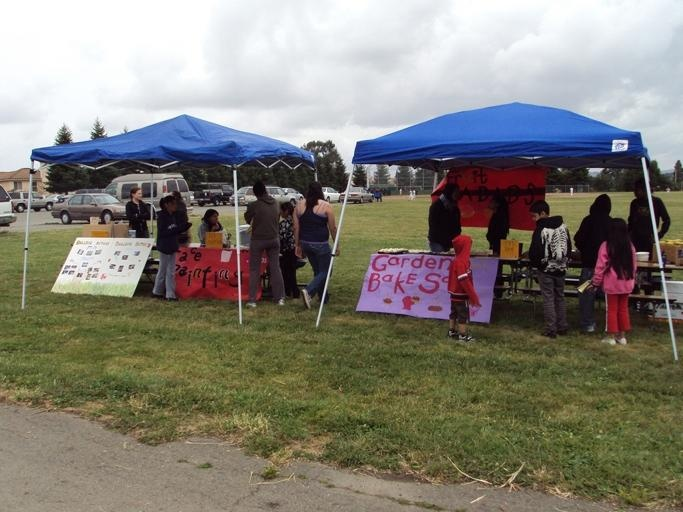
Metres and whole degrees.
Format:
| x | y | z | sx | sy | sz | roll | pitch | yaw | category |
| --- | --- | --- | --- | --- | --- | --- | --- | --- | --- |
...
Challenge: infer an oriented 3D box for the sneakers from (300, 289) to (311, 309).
| x | y | z | sx | sy | sz | roll | pitch | yaw | category |
| --- | --- | --- | --- | --- | --- | --- | --- | --- | --- |
| -0.634 | 0.785 | 9.066 | 0.194 | 0.397 | 0.144 | -9 | 6 | -25 | sneakers |

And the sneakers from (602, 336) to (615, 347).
| x | y | z | sx | sy | sz | roll | pitch | yaw | category |
| --- | --- | --- | --- | --- | --- | --- | --- | --- | --- |
| 3.889 | 1.250 | 7.241 | 0.090 | 0.071 | 0.182 | -1 | 4 | -12 | sneakers |

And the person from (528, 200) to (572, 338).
| x | y | z | sx | sy | sz | roll | pitch | yaw | category |
| --- | --- | --- | --- | --- | --- | --- | --- | --- | --- |
| 3.139 | 0.209 | 7.578 | 0.631 | 2.041 | 0.558 | -9 | 14 | -41 | person |

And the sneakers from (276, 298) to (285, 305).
| x | y | z | sx | sy | sz | roll | pitch | yaw | category |
| --- | --- | --- | --- | --- | --- | --- | --- | --- | --- |
| -1.175 | 0.879 | 9.461 | 0.139 | 0.118 | 0.097 | -2 | 0 | 18 | sneakers |

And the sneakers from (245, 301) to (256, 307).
| x | y | z | sx | sy | sz | roll | pitch | yaw | category |
| --- | --- | --- | --- | --- | --- | --- | --- | --- | --- |
| -1.741 | 0.931 | 9.435 | 0.170 | 0.086 | 0.073 | -6 | 23 | 38 | sneakers |

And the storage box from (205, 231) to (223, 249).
| x | y | z | sx | sy | sz | roll | pitch | yaw | category |
| --- | --- | --- | --- | --- | --- | --- | --- | --- | --- |
| -2.656 | -0.363 | 10.525 | 0.470 | 0.388 | 0.321 | 2 | 4 | 3 | storage box |

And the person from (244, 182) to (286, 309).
| x | y | z | sx | sy | sz | roll | pitch | yaw | category |
| --- | --- | --- | --- | --- | --- | --- | --- | --- | --- |
| -1.435 | -0.208 | 9.299 | 0.714 | 2.334 | 0.682 | -1 | 11 | -10 | person |

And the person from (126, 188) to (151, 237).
| x | y | z | sx | sy | sz | roll | pitch | yaw | category |
| --- | --- | --- | --- | --- | --- | --- | --- | --- | --- |
| -4.743 | -0.978 | 11.522 | 0.463 | 1.231 | 1.084 | -4 | 11 | -22 | person |

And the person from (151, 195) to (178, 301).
| x | y | z | sx | sy | sz | roll | pitch | yaw | category |
| --- | --- | --- | --- | --- | --- | --- | --- | --- | --- |
| -3.482 | -0.144 | 9.865 | 0.452 | 2.077 | 0.578 | -6 | 12 | -30 | person |

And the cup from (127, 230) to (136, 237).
| x | y | z | sx | sy | sz | roll | pitch | yaw | category |
| --- | --- | --- | --- | --- | --- | --- | --- | --- | --- |
| -4.798 | -0.509 | 11.354 | 0.193 | 0.162 | 0.178 | 2 | 6 | 0 | cup |

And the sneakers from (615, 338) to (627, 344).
| x | y | z | sx | sy | sz | roll | pitch | yaw | category |
| --- | --- | --- | --- | --- | --- | --- | --- | --- | --- |
| 4.068 | 1.239 | 7.211 | 0.072 | 0.059 | 0.151 | 2 | 6 | 23 | sneakers |

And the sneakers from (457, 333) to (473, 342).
| x | y | z | sx | sy | sz | roll | pitch | yaw | category |
| --- | --- | --- | --- | --- | --- | --- | --- | --- | --- |
| 1.832 | 1.228 | 7.384 | 0.228 | 0.092 | 0.084 | 1 | 0 | 4 | sneakers |

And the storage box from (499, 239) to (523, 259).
| x | y | z | sx | sy | sz | roll | pitch | yaw | category |
| --- | --- | --- | --- | --- | --- | --- | --- | --- | --- |
| 2.918 | -0.105 | 8.609 | 0.319 | 0.334 | 0.268 | 3 | 11 | 12 | storage box |

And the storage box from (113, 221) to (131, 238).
| x | y | z | sx | sy | sz | roll | pitch | yaw | category |
| --- | --- | --- | --- | --- | --- | --- | --- | --- | --- |
| -5.072 | -0.591 | 11.299 | 0.475 | 0.392 | 0.315 | 1 | 9 | -3 | storage box |

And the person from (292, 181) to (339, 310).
| x | y | z | sx | sy | sz | roll | pitch | yaw | category |
| --- | --- | --- | --- | --- | --- | --- | --- | --- | --- |
| -0.497 | -0.180 | 9.099 | 0.769 | 2.311 | 0.927 | -1 | 11 | -6 | person |

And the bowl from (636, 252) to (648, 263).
| x | y | z | sx | sy | sz | roll | pitch | yaw | category |
| --- | --- | --- | --- | --- | --- | --- | --- | --- | --- |
| 4.854 | 0.028 | 8.038 | 0.174 | 0.152 | 0.251 | 6 | 12 | 28 | bowl |

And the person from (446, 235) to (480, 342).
| x | y | z | sx | sy | sz | roll | pitch | yaw | category |
| --- | --- | --- | --- | --- | --- | --- | --- | --- | --- |
| 1.821 | 0.466 | 7.447 | 0.429 | 1.581 | 1.134 | 3 | 11 | 13 | person |

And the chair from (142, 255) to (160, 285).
| x | y | z | sx | sy | sz | roll | pitch | yaw | category |
| --- | --- | --- | --- | --- | --- | --- | --- | --- | --- |
| -4.384 | 0.340 | 11.375 | 0.340 | 0.164 | 0.735 | -2 | 23 | -9 | chair |

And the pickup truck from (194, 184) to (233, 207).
| x | y | z | sx | sy | sz | roll | pitch | yaw | category |
| --- | --- | --- | --- | --- | --- | --- | --- | --- | --- |
| -11.266 | -5.666 | 45.665 | 2.073 | 1.667 | 3.458 | 10 | 16 | 43 | pickup truck |

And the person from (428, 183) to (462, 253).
| x | y | z | sx | sy | sz | roll | pitch | yaw | category |
| --- | --- | --- | --- | --- | --- | --- | --- | --- | --- |
| 1.859 | -0.668 | 8.949 | 0.578 | 1.265 | 0.511 | 1 | 11 | 4 | person |

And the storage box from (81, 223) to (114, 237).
| x | y | z | sx | sy | sz | roll | pitch | yaw | category |
| --- | --- | --- | --- | --- | --- | --- | --- | --- | --- |
| -5.511 | -0.553 | 11.256 | 0.665 | 0.307 | 0.388 | 3 | -6 | 1 | storage box |
